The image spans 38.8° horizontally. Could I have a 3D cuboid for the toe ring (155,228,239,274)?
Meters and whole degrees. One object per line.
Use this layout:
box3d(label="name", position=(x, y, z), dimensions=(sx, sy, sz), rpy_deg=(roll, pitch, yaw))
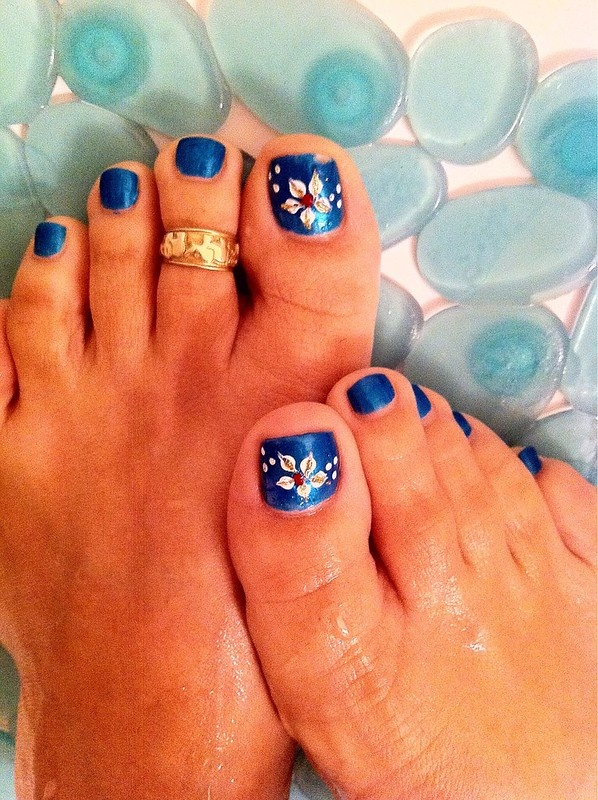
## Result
box3d(label="toe ring", position=(-0.094, -0.144, 0.811), dimensions=(0.047, 0.023, 0.043), rpy_deg=(5, 7, -1))
